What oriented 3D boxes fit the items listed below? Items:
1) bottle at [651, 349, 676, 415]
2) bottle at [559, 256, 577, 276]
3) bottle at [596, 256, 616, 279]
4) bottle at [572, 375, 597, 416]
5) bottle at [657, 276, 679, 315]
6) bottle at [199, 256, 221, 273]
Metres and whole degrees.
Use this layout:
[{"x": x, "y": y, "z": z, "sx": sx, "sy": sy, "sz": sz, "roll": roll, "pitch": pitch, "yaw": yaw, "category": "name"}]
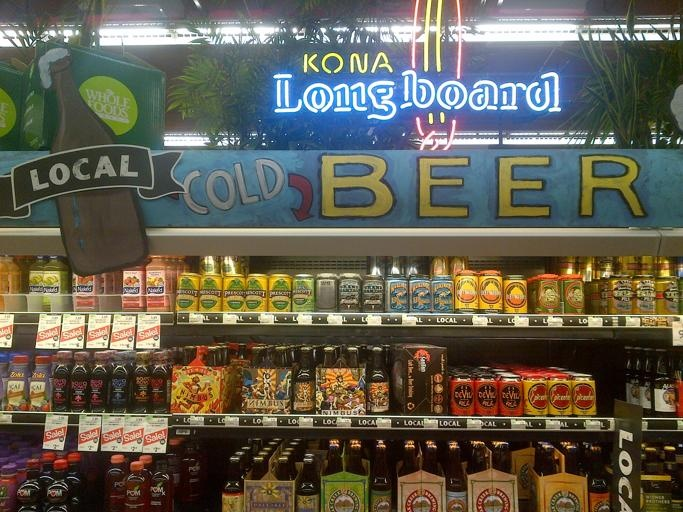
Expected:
[{"x": 2.190, "y": 0.863, "z": 5.460, "sx": 0.162, "sy": 0.292, "sz": 0.261, "roll": -4, "pitch": 2, "yaw": 21, "category": "bottle"}, {"x": 1.615, "y": 0.067, "z": 5.786, "sx": 0.159, "sy": 0.162, "sz": 0.158, "roll": -2, "pitch": -4, "yaw": 32, "category": "bottle"}, {"x": 1.904, "y": 0.083, "z": 5.785, "sx": 0.160, "sy": 0.209, "sz": 0.153, "roll": -1, "pitch": 2, "yaw": 0, "category": "bottle"}, {"x": 1.627, "y": 0.939, "z": 5.396, "sx": 0.137, "sy": 0.211, "sz": 0.133, "roll": -5, "pitch": 2, "yaw": 0, "category": "bottle"}, {"x": 2.185, "y": 0.264, "z": 5.372, "sx": 0.155, "sy": 0.172, "sz": 0.052, "roll": -4, "pitch": 2, "yaw": 18, "category": "bottle"}, {"x": -0.944, "y": 0.063, "z": 5.844, "sx": 0.144, "sy": 0.151, "sz": 0.141, "roll": -2, "pitch": -2, "yaw": 20, "category": "bottle"}]
